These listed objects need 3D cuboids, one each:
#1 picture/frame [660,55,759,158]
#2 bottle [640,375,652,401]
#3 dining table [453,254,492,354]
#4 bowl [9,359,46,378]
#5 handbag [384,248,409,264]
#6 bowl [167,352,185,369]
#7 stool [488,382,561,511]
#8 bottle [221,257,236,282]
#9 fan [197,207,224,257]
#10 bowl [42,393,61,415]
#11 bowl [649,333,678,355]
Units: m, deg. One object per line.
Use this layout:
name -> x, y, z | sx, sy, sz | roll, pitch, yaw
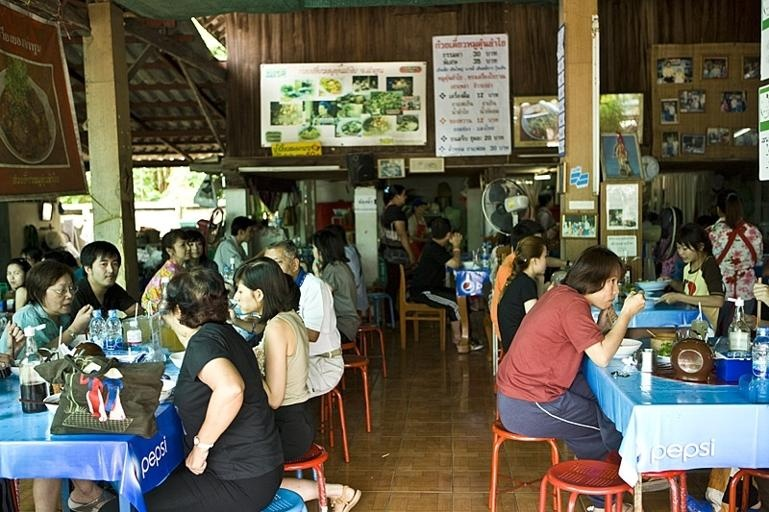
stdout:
picture/frame -> 4.203, -1.983, 9.263 | 1.281, 1.452, 0.144 | 0, 3, 0
bottle -> 1.518, 0.765, 4.186 | 0.058, 0.012, 0.405 | 2, 8, 16
dining table -> 1.022, 0.562, 8.338 | 0.363, 1.001, 0.944 | 1, 11, 8
bowl -> -2.031, 0.647, 4.118 | 0.147, 0.095, 0.157 | 0, -2, 0
handbag -> 0.157, -0.002, 9.866 | 0.187, 0.108, 0.276 | 5, -1, 38
bowl -> -1.311, 0.669, 4.551 | 0.140, 0.081, 0.148 | 0, 3, 0
stool -> 1.020, 1.372, 5.065 | 0.620, 0.970, 0.598 | -1, 2, -4
bottle -> -1.525, 0.133, 7.082 | 0.076, 0.084, 0.210 | -17, 28, 12
fan -> -2.564, -0.328, 10.660 | 0.412, 1.058, 0.269 | 3, -34, -18
bowl -> -1.827, 0.814, 3.973 | 0.106, 0.057, 0.113 | 0, 2, 0
bowl -> 1.822, 0.572, 4.693 | 0.142, 0.077, 0.156 | 1, 4, 0
